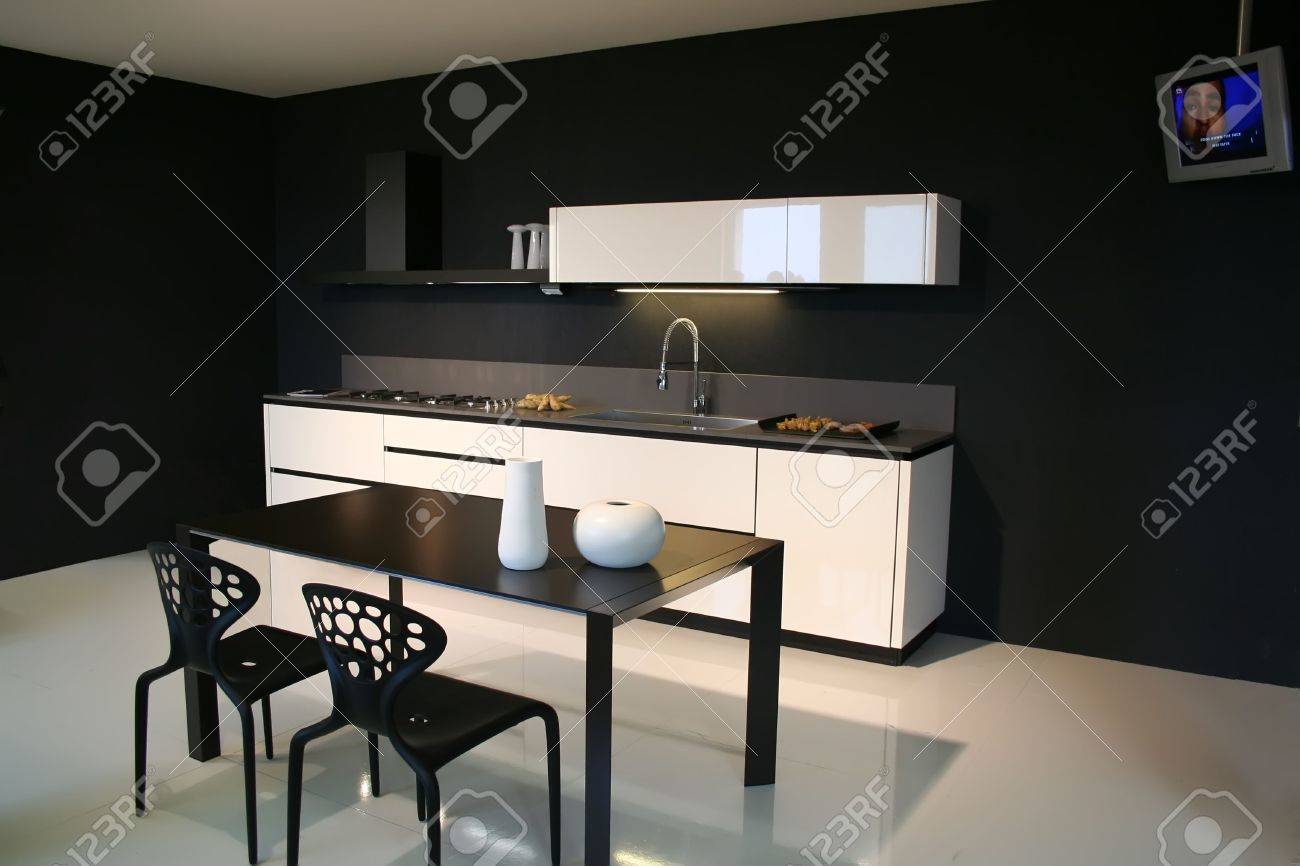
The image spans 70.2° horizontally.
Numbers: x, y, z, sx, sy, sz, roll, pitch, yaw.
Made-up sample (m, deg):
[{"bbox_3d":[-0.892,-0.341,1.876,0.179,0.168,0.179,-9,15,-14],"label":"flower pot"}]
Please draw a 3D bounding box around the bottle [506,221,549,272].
[{"bbox_3d":[-0.804,-1.232,6.142,0.246,0.296,0.485,-1,14,-7],"label":"bottle"}]

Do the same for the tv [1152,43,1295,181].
[{"bbox_3d":[2.836,-1.565,4.524,0.340,0.610,0.613,-24,22,-40],"label":"tv"}]

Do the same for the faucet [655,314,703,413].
[{"bbox_3d":[0.183,-0.491,5.907,0.267,0.471,0.210,1,14,0],"label":"faucet"}]

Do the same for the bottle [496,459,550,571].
[{"bbox_3d":[-0.480,0.302,3.447,0.185,0.385,0.227,-2,14,-9],"label":"bottle"}]
